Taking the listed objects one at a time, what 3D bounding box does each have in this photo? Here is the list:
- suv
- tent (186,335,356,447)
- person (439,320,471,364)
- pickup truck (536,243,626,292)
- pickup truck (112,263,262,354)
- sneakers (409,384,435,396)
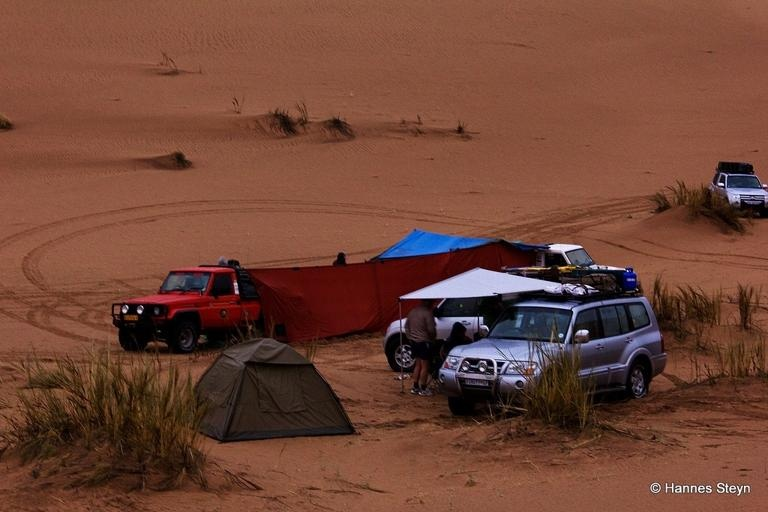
[{"bbox_3d":[4.553,2.444,25.319,5.156,2.214,2.906,1,-3,-36],"label":"suv"},{"bbox_3d":[-2.737,3.515,23.780,2.644,1.397,3.008,-1,7,-22],"label":"tent"},{"bbox_3d":[1.874,2.209,25.960,0.857,1.481,1.359,1,23,7],"label":"person"},{"bbox_3d":[6.618,0.449,32.261,2.563,1.298,1.689,-1,12,18],"label":"pickup truck"},{"bbox_3d":[-5.945,1.566,31.145,2.622,2.636,5.295,3,2,35],"label":"pickup truck"},{"bbox_3d":[1.077,3.686,26.490,0.617,0.257,0.258,0,2,-5],"label":"sneakers"}]
